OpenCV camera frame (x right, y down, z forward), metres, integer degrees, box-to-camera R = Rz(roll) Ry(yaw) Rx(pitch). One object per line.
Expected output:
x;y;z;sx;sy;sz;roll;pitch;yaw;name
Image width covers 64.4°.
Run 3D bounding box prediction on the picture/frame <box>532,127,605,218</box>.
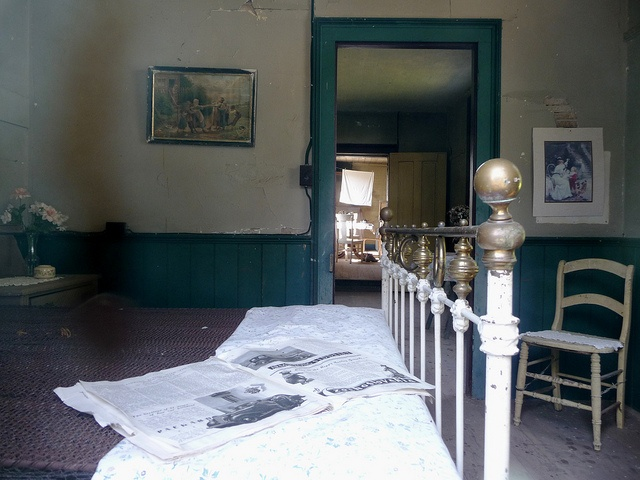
1.649;-0.456;3.329;0.557;0.747;0.028;0;-2;0;picture/frame
